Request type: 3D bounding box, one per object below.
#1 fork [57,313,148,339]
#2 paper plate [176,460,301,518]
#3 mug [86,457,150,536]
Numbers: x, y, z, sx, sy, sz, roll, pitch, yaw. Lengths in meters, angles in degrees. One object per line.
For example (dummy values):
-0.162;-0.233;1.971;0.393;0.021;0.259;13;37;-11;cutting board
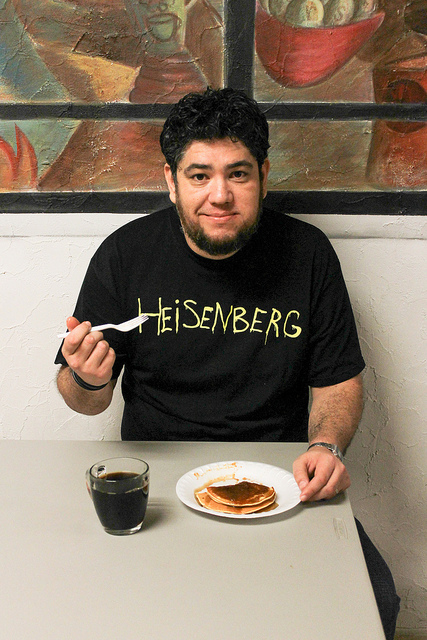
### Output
-0.240;0.013;1.307;0.198;0.027;0.030;-11;68;10;fork
0.046;0.295;0.981;0.210;0.022;0.214;-3;10;-25;paper plate
-0.140;0.260;0.876;0.093;0.107;0.110;-15;39;-12;mug
